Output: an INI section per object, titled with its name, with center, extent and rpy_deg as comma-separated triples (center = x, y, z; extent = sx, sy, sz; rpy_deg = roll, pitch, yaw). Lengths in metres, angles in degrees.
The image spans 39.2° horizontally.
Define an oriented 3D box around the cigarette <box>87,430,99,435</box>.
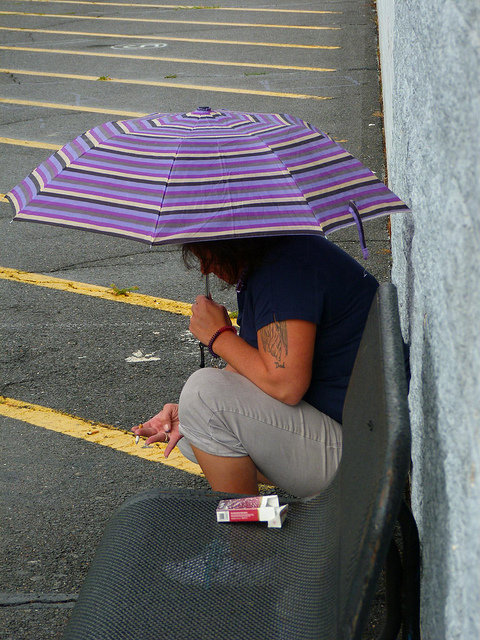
[cigarette]
center = -0.596, 0.456, 2.751
extent = 0.042, 0.010, 0.011
rpy_deg = -5, 3, -9
